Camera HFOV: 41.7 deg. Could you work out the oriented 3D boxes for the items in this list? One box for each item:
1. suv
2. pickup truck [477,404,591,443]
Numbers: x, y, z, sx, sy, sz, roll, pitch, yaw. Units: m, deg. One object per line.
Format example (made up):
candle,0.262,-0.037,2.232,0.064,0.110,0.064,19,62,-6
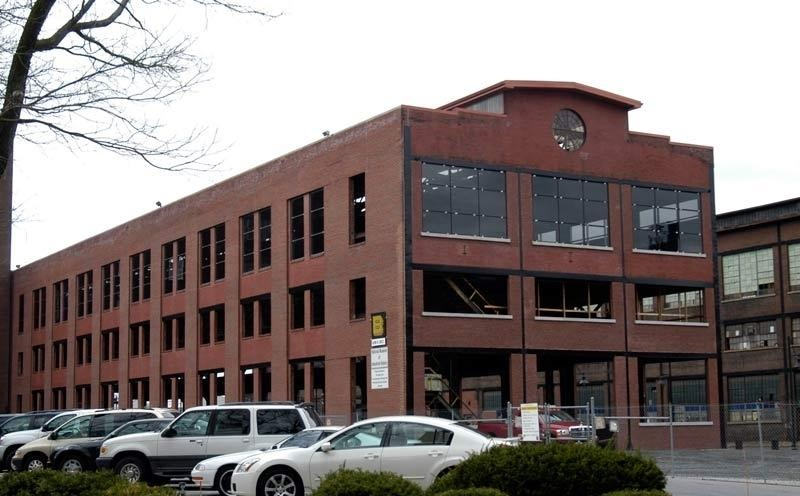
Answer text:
suv,-7.286,7.416,40.127,7.366,2.538,3.255,0,-10,1
pickup truck,5.612,8.149,46.776,4.309,1.562,2.124,-5,-6,12
